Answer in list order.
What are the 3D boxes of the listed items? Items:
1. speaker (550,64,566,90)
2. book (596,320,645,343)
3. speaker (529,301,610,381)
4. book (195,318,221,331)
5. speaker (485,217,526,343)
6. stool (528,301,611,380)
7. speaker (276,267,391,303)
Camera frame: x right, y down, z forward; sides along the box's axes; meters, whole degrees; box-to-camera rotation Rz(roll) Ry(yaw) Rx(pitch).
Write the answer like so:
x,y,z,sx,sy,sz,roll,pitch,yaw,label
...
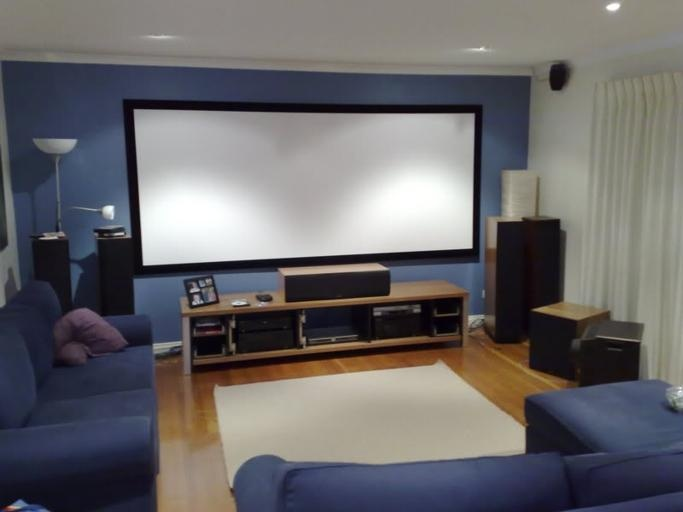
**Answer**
x,y,z,sx,sy,sz,roll,pitch,yaw,label
2.223,-1.831,5.652,0.145,0.270,0.181,-12,16,-42,speaker
2.276,0.610,4.518,0.245,0.061,0.239,5,16,30,book
2.034,0.693,5.067,0.593,0.630,0.629,1,13,11,speaker
-1.233,0.622,5.118,0.155,0.109,0.037,4,-28,-13,book
1.721,0.234,5.782,0.380,1.264,0.410,-1,12,1,speaker
1.976,0.714,4.923,0.593,0.631,0.629,1,13,10,stool
-0.051,0.268,5.399,1.046,0.272,0.208,-4,12,-12,speaker
